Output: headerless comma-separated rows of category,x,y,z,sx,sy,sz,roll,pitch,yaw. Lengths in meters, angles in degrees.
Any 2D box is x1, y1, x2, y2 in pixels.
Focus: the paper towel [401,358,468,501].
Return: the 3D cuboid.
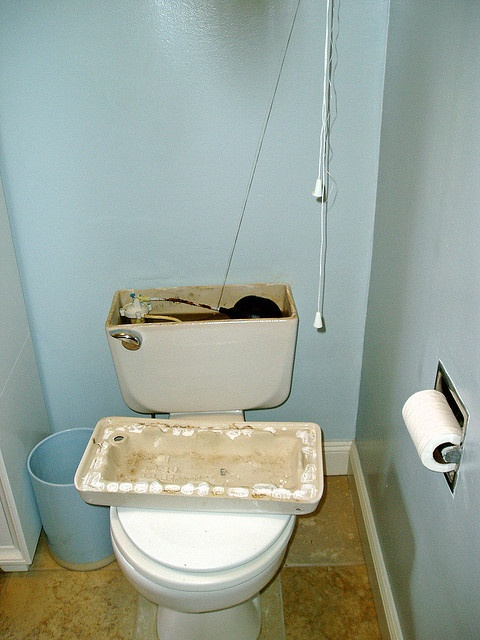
paper towel,0.290,0.164,0.750,0.059,0.143,0.136,-7,24,6
